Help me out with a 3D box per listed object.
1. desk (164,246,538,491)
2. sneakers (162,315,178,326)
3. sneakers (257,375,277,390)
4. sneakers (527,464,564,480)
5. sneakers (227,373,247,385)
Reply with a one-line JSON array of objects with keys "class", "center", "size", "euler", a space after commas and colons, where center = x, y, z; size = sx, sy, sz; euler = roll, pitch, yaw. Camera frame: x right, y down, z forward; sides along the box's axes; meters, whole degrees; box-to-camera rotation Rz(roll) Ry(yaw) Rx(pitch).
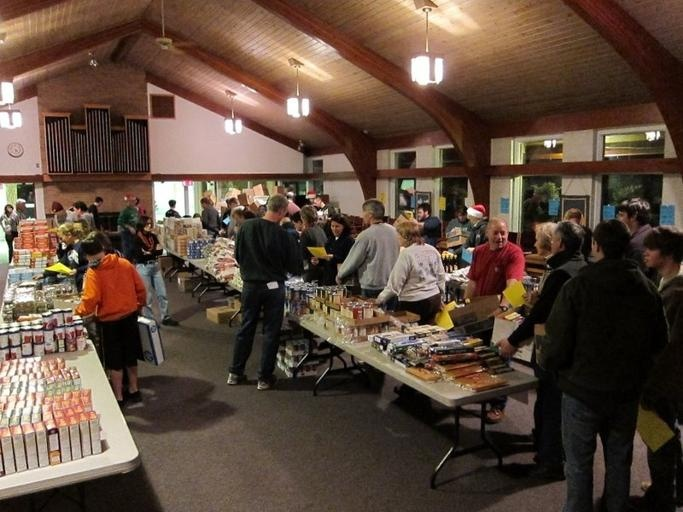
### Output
[{"class": "desk", "center": [0.488, 1.049, 4.746], "size": [0.904, 1.007, 2.417], "euler": [-9, 14, -30]}, {"class": "sneakers", "center": [-2.542, 0.954, 7.738], "size": [0.283, 0.112, 0.101], "euler": [1, 4, 4]}, {"class": "sneakers", "center": [-0.787, 1.327, 5.591], "size": [0.234, 0.103, 0.092], "euler": [-9, 13, -39]}, {"class": "sneakers", "center": [1.576, 1.640, 4.090], "size": [0.284, 0.135, 0.104], "euler": [3, 1, 13]}, {"class": "sneakers", "center": [-1.137, 1.310, 5.727], "size": [0.092, 0.101, 0.247], "euler": [3, 5, 23]}]
